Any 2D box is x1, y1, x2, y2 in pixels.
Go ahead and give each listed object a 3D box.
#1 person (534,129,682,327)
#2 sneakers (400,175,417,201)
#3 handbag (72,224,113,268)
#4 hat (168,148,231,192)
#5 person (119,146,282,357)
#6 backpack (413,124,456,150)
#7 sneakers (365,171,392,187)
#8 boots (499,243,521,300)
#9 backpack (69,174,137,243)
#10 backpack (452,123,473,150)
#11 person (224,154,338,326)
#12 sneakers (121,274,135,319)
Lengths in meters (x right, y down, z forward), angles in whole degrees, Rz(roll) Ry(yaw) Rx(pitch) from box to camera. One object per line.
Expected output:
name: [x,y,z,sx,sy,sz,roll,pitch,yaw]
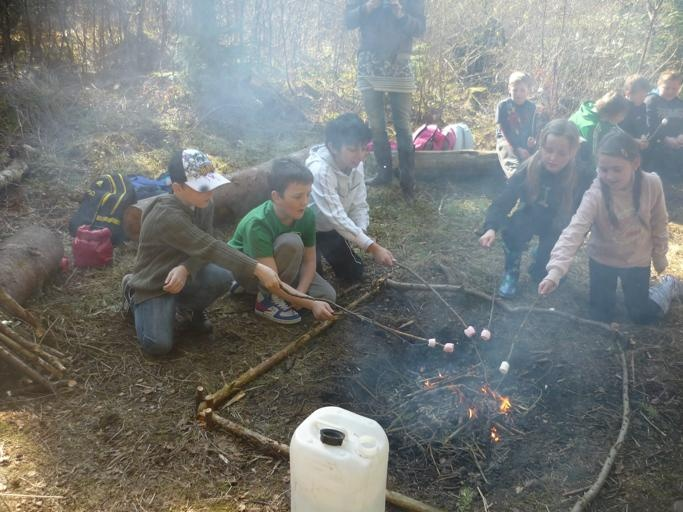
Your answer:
person: [2.423,-0.230,5.099,1.334,1.565,0.620,-3,29,-4]
sneakers: [0.820,-0.842,7.307,0.162,0.297,0.102,1,8,-3]
handbag: [-2.331,-0.110,5.664,0.361,0.401,0.362,7,13,19]
hat: [-1.092,-0.677,4.638,0.434,0.235,0.310,1,24,3]
person: [-1.269,0.008,4.773,1.514,1.601,0.763,26,26,28]
backpack: [1.233,-1.611,8.066,0.464,0.223,0.446,-39,41,-27]
sneakers: [0.471,-1.008,7.627,0.356,0.269,0.149,3,15,-3]
boots: [1.634,0.105,5.689,0.169,0.507,0.460,7,28,16]
backpack: [-2.347,-0.535,5.946,0.534,0.264,0.726,17,53,7]
backpack: [1.671,-1.638,8.273,0.253,0.381,0.362,-3,29,7]
person: [-0.497,-0.178,5.194,1.108,1.345,0.704,18,26,29]
sneakers: [-1.797,0.341,4.899,0.116,0.328,0.189,2,5,4]
